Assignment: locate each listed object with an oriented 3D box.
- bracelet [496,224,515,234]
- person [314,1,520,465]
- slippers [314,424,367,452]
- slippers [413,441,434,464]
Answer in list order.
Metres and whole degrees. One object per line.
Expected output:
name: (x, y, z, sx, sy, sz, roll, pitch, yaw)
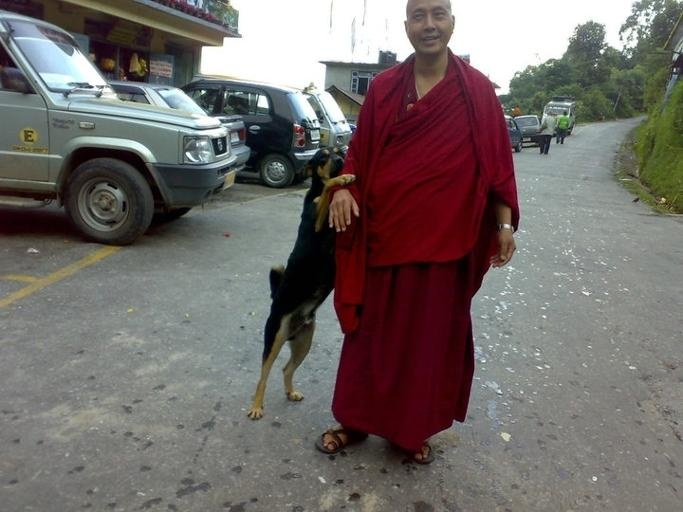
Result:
bracelet: (0.846, -0.138, 2.714, 0.066, 0.068, 0.042, 3, 63, 27)
person: (0.346, -0.084, 2.725, 1.065, 2.353, 0.700, -12, 23, -33)
slippers: (-0.010, 0.997, 2.866, 0.287, 0.114, 0.105, 0, 20, -23)
slippers: (0.451, 1.054, 2.768, 0.090, 0.091, 0.029, 13, -28, -21)
